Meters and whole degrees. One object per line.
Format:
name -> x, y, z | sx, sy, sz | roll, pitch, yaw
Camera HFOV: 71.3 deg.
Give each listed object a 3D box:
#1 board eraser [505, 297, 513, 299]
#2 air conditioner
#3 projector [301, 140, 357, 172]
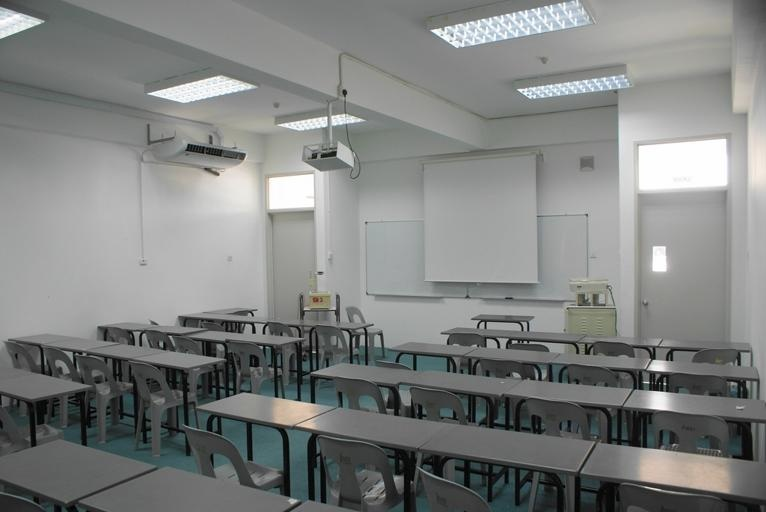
board eraser -> 2.143, 0.715, 9.019 | 0.138, 0.053, 0.025 | 0, -2, 18
air conditioner -> -3.012, -1.761, 8.565 | 0.702, 0.585, 1.282 | -1, -2, 40
projector -> -0.628, -1.198, 6.623 | 0.412, 0.192, 0.418 | 0, -5, 11
